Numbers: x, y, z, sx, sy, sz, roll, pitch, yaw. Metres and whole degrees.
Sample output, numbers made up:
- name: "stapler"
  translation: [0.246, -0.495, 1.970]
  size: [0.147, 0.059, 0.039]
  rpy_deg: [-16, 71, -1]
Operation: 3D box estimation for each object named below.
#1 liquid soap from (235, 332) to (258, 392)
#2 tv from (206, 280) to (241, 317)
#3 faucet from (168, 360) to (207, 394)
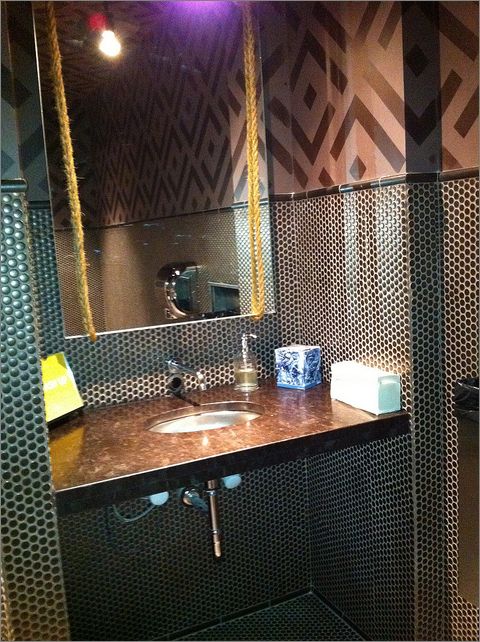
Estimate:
- name: "liquid soap"
  translation: [0.015, 0.151, 1.984]
  size: [0.079, 0.196, 0.063]
  rpy_deg: [-2, 7, 3]
- name: "tv"
  translation: [-0.049, -0.081, 2.053]
  size: [0.117, 0.111, 0.028]
  rpy_deg: [-6, 12, -22]
- name: "faucet"
  translation: [-0.186, 0.182, 1.888]
  size: [0.072, 0.091, 0.179]
  rpy_deg: [-7, -2, -29]
